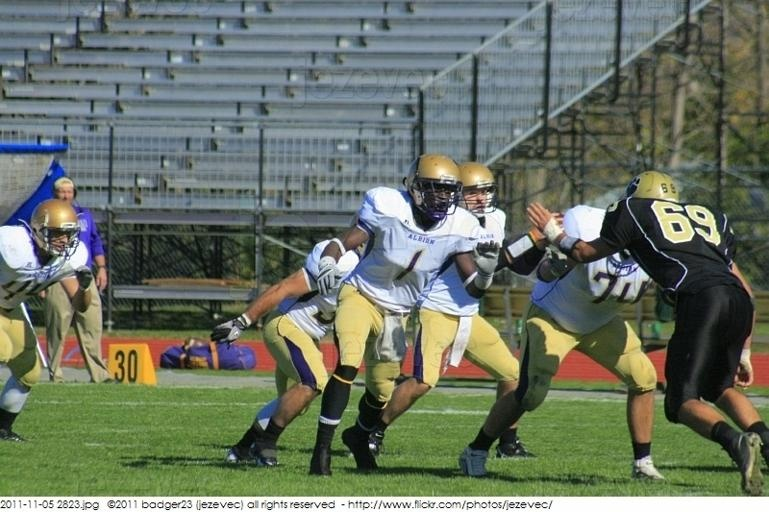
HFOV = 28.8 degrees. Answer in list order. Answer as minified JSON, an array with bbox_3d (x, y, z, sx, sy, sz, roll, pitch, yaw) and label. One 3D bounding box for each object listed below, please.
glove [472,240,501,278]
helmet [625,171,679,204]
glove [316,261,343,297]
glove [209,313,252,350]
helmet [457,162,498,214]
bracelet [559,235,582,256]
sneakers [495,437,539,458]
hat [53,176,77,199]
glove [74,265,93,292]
[{"bbox_3d":[1.195,0.037,18.061,0.311,0.318,0.347,3,2,3],"label":"glove"},{"bbox_3d":[3.161,-0.829,18.025,0.376,0.475,0.508,11,15,-21],"label":"helmet"},{"bbox_3d":[-0.693,0.276,18.029,0.254,0.418,0.148,4,5,4],"label":"glove"},{"bbox_3d":[-1.871,0.909,18.034,0.491,0.317,0.162,-33,6,-4],"label":"glove"},{"bbox_3d":[1.070,-0.857,19.294,0.471,0.530,0.643,-2,6,-28],"label":"helmet"},{"bbox_3d":[2.189,-0.139,17.890,0.190,0.178,0.231,28,-9,17],"label":"bracelet"},{"bbox_3d":[1.679,2.442,19.012,0.597,0.275,0.207,0,-1,-1],"label":"sneakers"},{"bbox_3d":[-4.739,-0.988,22.143,0.276,0.345,0.355,0,4,-18],"label":"hat"},{"bbox_3d":[-3.800,0.281,18.852,0.218,0.297,0.288,3,2,-12],"label":"glove"}]
